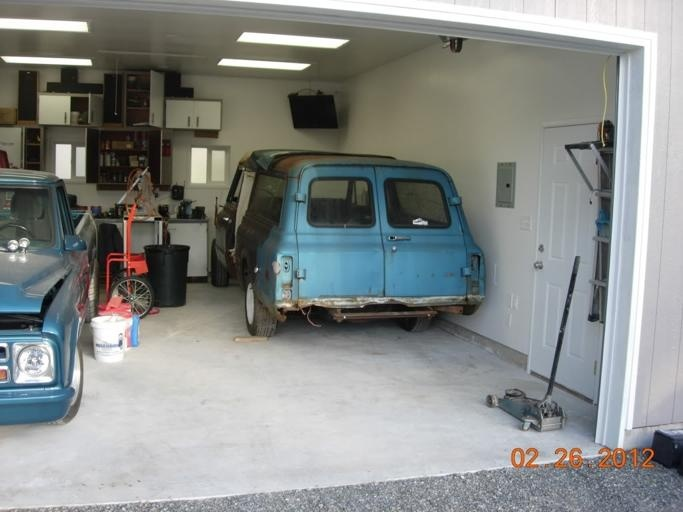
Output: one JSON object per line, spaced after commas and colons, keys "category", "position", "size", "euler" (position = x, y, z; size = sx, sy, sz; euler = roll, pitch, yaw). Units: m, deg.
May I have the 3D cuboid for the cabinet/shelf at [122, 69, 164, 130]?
{"category": "cabinet/shelf", "position": [-3.897, -3.032, 10.469], "size": [0.726, 1.087, 0.716], "euler": [-1, 13, -22]}

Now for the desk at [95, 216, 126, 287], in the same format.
{"category": "desk", "position": [-3.668, -0.118, 8.913], "size": [0.753, 1.125, 0.338], "euler": [6, 10, 39]}

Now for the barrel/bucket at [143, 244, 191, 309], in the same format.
{"category": "barrel/bucket", "position": [-2.591, 0.296, 8.297], "size": [0.813, 0.964, 0.822], "euler": [3, 9, 0]}

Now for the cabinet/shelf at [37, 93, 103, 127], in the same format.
{"category": "cabinet/shelf", "position": [-5.255, -2.847, 10.342], "size": [1.132, 0.606, 0.352], "euler": [0, 9, -10]}

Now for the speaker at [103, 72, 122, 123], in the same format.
{"category": "speaker", "position": [-4.529, -3.121, 10.565], "size": [0.365, 0.974, 0.120], "euler": [0, 9, -7]}

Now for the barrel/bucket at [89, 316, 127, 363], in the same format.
{"category": "barrel/bucket", "position": [-2.536, 0.867, 6.000], "size": [0.431, 0.485, 0.456], "euler": [6, 4, 0]}

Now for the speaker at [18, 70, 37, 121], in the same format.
{"category": "speaker", "position": [-6.016, -3.058, 10.236], "size": [0.389, 0.969, 0.183], "euler": [0, 9, -9]}

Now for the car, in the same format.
{"category": "car", "position": [0.112, -0.056, 6.117], "size": [1.914, 1.522, 3.136], "euler": [1, 13, -16]}

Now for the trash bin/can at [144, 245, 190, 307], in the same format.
{"category": "trash bin/can", "position": [-2.623, 0.315, 8.107], "size": [0.778, 0.972, 0.833], "euler": [4, 9, 5]}

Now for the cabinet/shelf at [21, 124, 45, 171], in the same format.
{"category": "cabinet/shelf", "position": [-5.941, -2.005, 10.364], "size": [0.340, 0.950, 0.257], "euler": [0, 14, -20]}
